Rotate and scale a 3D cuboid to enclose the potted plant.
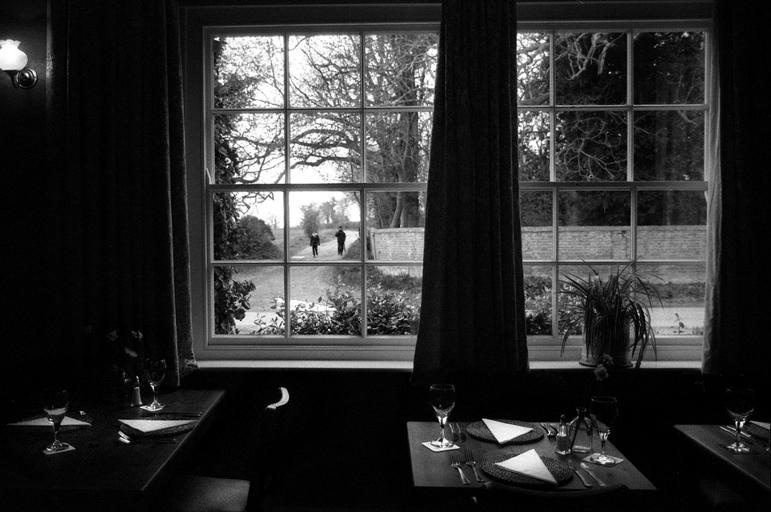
[{"bbox_3d":[1.363,0.346,4.106,0.641,0.616,0.429,0,4,6],"label":"potted plant"}]

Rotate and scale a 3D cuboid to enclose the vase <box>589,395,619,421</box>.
[{"bbox_3d":[1.089,0.755,3.429,0.123,0.126,0.117,1,-7,-4],"label":"vase"}]

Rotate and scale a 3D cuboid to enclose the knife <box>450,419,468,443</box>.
[{"bbox_3d":[0.380,0.912,3.563,0.058,0.070,0.059,-2,-21,-8],"label":"knife"}]
